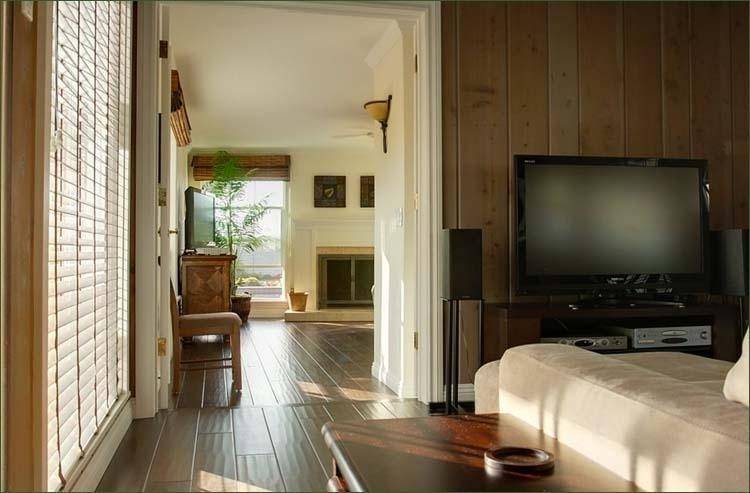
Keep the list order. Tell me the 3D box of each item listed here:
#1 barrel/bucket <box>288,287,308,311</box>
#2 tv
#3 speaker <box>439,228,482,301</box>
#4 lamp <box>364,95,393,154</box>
[{"bbox_3d":[-1.207,0.876,8.572,0.316,0.254,0.286,-1,-2,12],"label":"barrel/bucket"},{"bbox_3d":[1.603,-0.104,3.819,1.152,0.765,0.076,1,-3,-9],"label":"tv"},{"bbox_3d":[0.528,0.115,3.319,0.257,0.443,0.111,-5,4,6],"label":"speaker"},{"bbox_3d":[0.019,-1.032,4.546,0.232,0.469,0.236,5,5,29],"label":"lamp"}]
